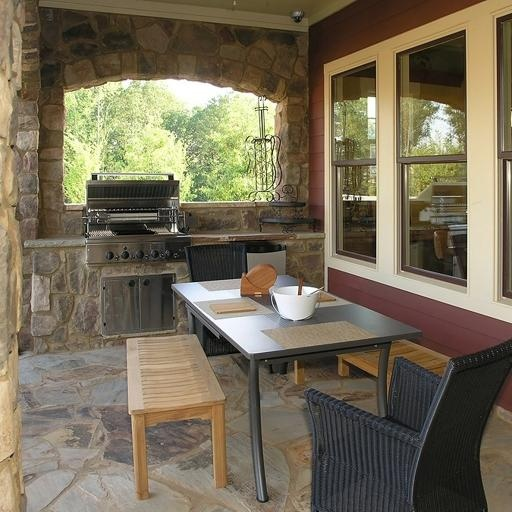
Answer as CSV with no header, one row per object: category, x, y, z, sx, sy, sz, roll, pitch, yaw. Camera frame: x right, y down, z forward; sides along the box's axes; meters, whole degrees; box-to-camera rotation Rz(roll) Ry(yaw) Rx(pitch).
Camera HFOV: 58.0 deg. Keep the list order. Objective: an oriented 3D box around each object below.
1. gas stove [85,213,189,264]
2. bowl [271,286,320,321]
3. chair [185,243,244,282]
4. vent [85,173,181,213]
gas stove,-1.142,-0.092,4.325,0.890,0.382,0.573,-3,5,-22
bowl,0.203,0.253,2.369,0.235,0.152,0.237,6,8,-1
chair,-0.301,0.050,3.582,0.468,0.268,0.187,-2,8,-7
vent,-1.126,-0.593,4.268,0.849,0.348,0.442,-3,8,-19
